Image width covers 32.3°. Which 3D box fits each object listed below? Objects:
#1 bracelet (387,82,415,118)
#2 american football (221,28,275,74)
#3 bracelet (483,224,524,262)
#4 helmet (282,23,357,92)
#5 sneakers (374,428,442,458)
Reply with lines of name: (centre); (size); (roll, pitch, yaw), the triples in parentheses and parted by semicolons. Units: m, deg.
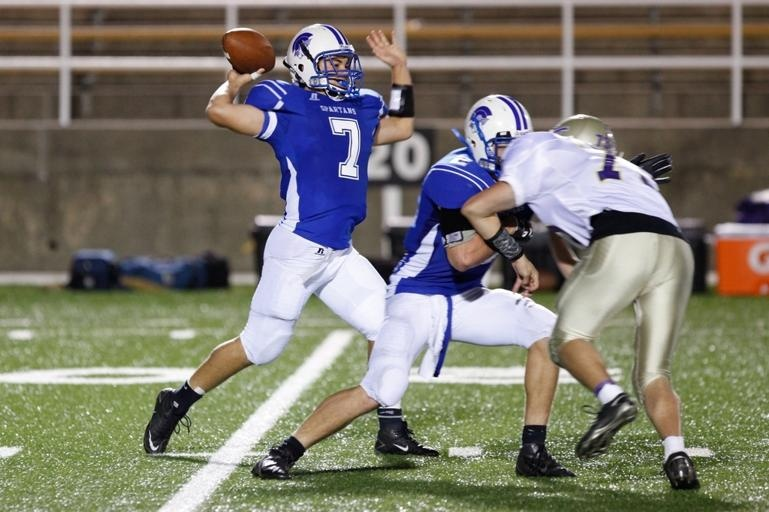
bracelet: (0.144, -1.151, 9.772); (0.195, 0.278, 0.232); (2, 19, 1)
american football: (-0.988, -1.484, 9.705); (0.393, 0.265, 0.281); (23, 2, -12)
bracelet: (0.841, -0.100, 9.134); (0.230, 0.233, 0.104); (-44, -10, -31)
helmet: (-0.423, -1.417, 9.499); (0.521, 0.432, 0.408); (14, 15, 25)
sneakers: (0.179, 1.336, 9.573); (0.528, 0.235, 0.179); (1, -6, -1)
